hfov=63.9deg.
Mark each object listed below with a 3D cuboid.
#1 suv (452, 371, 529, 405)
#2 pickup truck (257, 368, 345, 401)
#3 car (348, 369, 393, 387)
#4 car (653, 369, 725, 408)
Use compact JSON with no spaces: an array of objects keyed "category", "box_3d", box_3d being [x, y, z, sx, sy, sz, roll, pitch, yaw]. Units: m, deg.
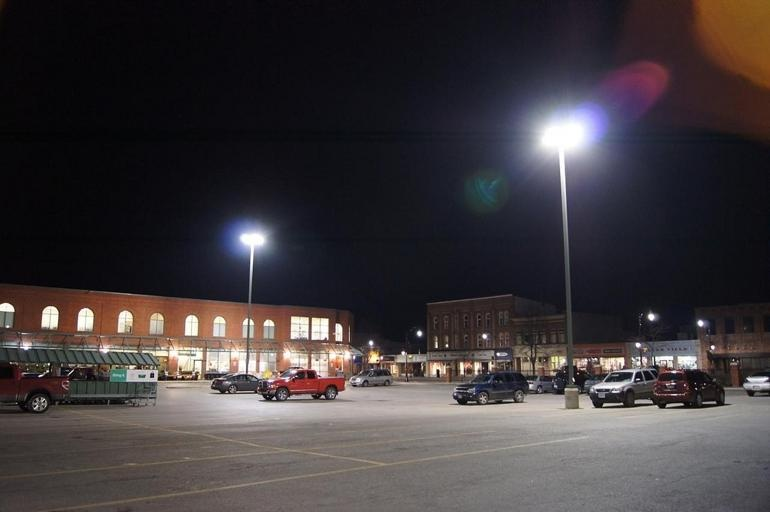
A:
[{"category":"suv","box_3d":[6.452,8.374,38.765,4.622,1.769,2.081,11,-18,-37]},{"category":"pickup truck","box_3d":[-5.659,8.582,41.390,5.266,2.145,1.782,5,-14,-22]},{"category":"car","box_3d":[-1.642,13.060,66.747,4.371,1.998,2.332,13,-19,-42]},{"category":"car","box_3d":[16.260,7.024,32.742,4.700,1.858,1.697,8,-16,-29]}]
